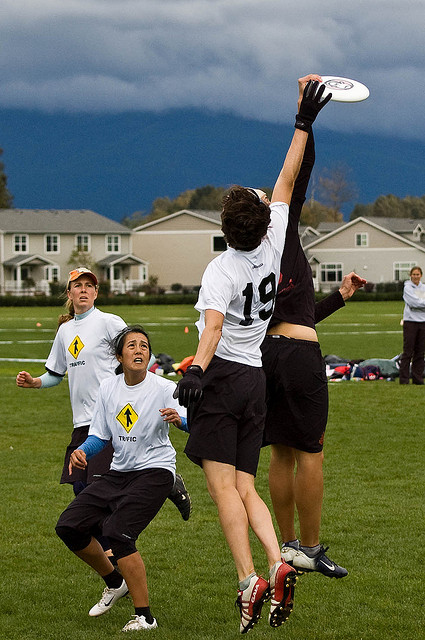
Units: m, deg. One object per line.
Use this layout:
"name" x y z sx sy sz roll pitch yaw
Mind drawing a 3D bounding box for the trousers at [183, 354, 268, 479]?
"trousers" 0.070 0.490 5.484 0.466 0.617 0.292 29 -32 -35

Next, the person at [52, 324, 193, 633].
"person" -0.500 0.867 5.914 0.702 1.608 1.033 2 7 -2

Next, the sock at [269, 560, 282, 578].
"sock" 0.303 1.234 5.200 0.037 0.098 0.033 13 -4 9

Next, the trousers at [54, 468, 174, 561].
"trousers" -0.544 1.052 5.800 0.455 0.642 0.506 31 -27 -29

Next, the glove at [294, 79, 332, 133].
"glove" 0.568 -1.237 6.138 0.161 0.297 0.113 2 6 0

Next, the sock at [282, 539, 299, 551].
"sock" 0.465 1.341 6.262 0.093 0.042 0.101 3 7 7

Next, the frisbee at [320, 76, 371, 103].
"frisbee" 0.807 -1.420 6.492 0.274 0.188 0.568 3 7 5

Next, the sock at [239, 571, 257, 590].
"sock" 0.174 1.283 5.149 0.078 0.073 0.077 1 7 -9

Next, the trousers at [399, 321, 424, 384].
"trousers" 2.737 0.459 14.514 0.320 0.835 0.481 4 7 10

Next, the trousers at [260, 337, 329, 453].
"trousers" 0.460 0.443 6.074 0.422 0.669 0.263 1 7 -10
